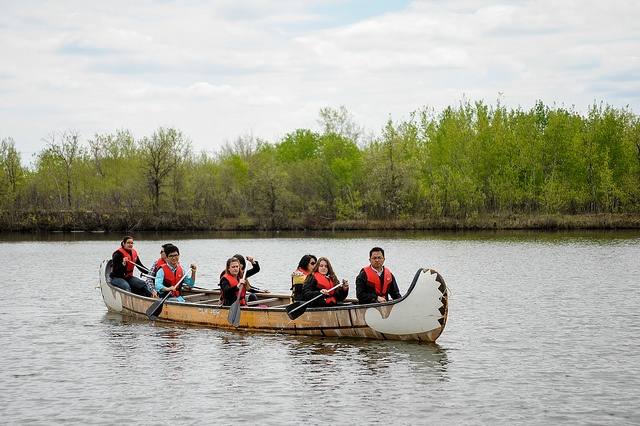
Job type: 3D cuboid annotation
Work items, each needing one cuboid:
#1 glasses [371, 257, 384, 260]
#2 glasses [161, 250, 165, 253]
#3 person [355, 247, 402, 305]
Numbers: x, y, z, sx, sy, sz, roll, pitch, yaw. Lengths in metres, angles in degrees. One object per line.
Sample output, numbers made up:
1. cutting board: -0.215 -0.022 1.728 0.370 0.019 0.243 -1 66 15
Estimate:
1. glasses: 1.908 1.482 25.288 0.415 0.109 0.202 -1 3 -8
2. glasses: -5.798 1.391 27.864 0.086 0.105 0.109 1 2 -19
3. person: 1.909 2.056 25.554 1.408 1.901 0.761 -1 5 -2
